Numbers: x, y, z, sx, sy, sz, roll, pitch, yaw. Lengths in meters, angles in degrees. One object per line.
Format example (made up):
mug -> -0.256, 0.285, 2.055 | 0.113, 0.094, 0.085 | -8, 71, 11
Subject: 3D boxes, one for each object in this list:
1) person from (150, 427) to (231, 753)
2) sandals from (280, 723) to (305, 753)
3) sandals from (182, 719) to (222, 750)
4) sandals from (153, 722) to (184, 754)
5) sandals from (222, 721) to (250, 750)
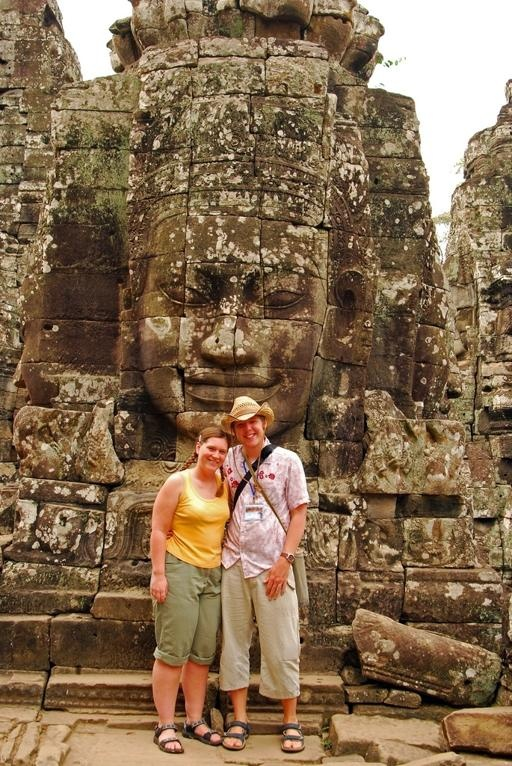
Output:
person -> -0.379, 1.076, 5.451 | 0.394, 1.599, 0.778 | 3, 12, 5
sandals -> 0.183, 1.882, 5.413 | 0.112, 0.107, 0.279 | 0, -11, 1
sandals -> -0.286, 1.852, 5.402 | 0.224, 0.098, 0.091 | 1, 0, 32
sandals -> -0.457, 1.851, 5.331 | 0.130, 0.132, 0.236 | -1, 12, -15
sandals -> -0.113, 1.855, 5.382 | 0.131, 0.123, 0.161 | 1, 12, -2
